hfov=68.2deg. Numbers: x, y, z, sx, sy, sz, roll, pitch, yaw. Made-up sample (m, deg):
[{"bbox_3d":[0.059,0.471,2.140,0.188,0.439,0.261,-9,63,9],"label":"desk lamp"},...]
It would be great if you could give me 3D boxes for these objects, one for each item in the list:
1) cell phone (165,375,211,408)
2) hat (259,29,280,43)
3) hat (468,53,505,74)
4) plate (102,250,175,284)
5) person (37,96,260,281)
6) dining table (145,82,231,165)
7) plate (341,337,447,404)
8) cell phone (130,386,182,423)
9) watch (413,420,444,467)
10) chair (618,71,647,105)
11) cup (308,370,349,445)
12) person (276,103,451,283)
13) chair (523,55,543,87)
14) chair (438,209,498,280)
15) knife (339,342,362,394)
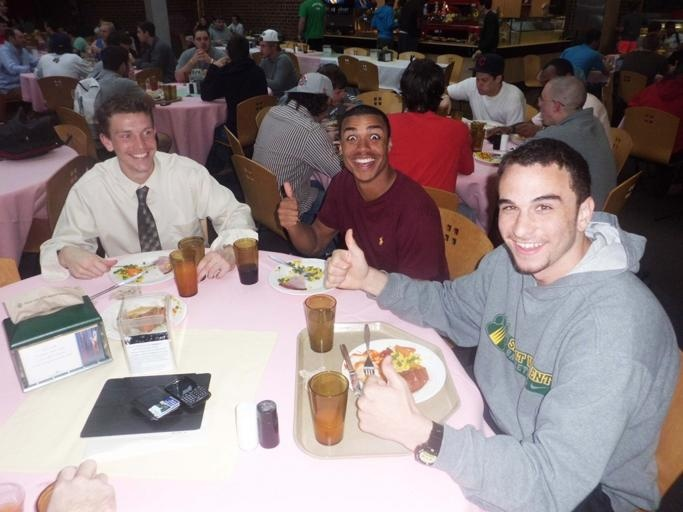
[{"bbox_3d":[-0.433,0.379,1.413,0.105,0.031,0.068,26,37,32],"label":"cell phone"},{"bbox_3d":[-0.953,-2.854,6.578,0.215,0.147,0.254,-3,27,-8],"label":"hat"},{"bbox_3d":[1.267,-1.641,4.370,0.233,0.126,0.171,0,38,-4],"label":"hat"},{"bbox_3d":[-0.817,0.044,2.006,0.165,0.024,0.166,21,35,17],"label":"plate"},{"bbox_3d":[-0.951,-0.210,2.475,1.058,1.010,0.718,-8,29,-21],"label":"person"},{"bbox_3d":[-1.566,-1.311,5.219,0.664,0.630,0.658,-29,59,-32],"label":"dining table"},{"bbox_3d":[0.214,0.328,1.547,0.181,0.027,0.182,-16,33,-31],"label":"plate"},{"bbox_3d":[-0.516,0.404,1.385,0.085,0.023,0.084,26,42,26],"label":"cell phone"},{"bbox_3d":[0.220,0.469,1.268,0.066,0.079,0.070,9,27,14],"label":"watch"},{"bbox_3d":[3.750,-2.185,6.539,0.207,0.362,0.463,-9,28,-20],"label":"chair"},{"bbox_3d":[-0.036,0.410,1.344,0.125,0.175,0.121,-2,21,1],"label":"cup"},{"bbox_3d":[0.116,-0.324,2.512,0.674,0.970,0.661,20,50,39],"label":"person"},{"bbox_3d":[2.975,-2.845,7.839,0.291,0.457,0.511,10,28,17],"label":"chair"},{"bbox_3d":[0.557,-0.050,2.258,0.228,0.283,0.206,40,69,20],"label":"chair"},{"bbox_3d":[0.021,0.335,1.508,0.029,0.017,0.242,-2,24,-13],"label":"knife"}]
